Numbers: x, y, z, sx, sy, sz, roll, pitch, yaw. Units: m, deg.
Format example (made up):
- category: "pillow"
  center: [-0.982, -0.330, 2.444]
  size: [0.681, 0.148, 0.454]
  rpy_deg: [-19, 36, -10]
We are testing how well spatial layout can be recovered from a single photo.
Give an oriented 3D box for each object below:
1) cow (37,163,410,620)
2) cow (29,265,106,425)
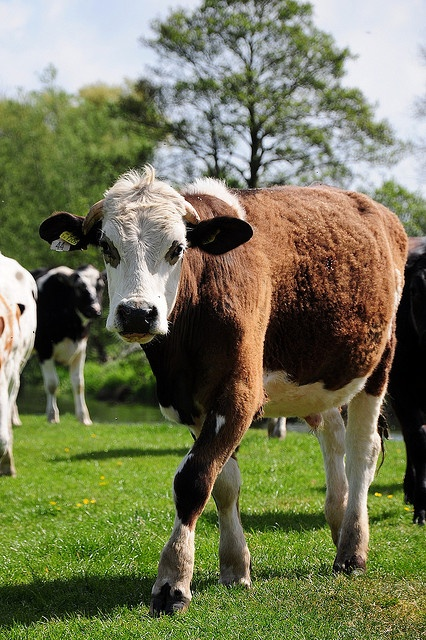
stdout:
- category: "cow"
  center: [0.301, 0.438, 7.667]
  size: [3.034, 3.199, 0.973]
  rpy_deg: [-2, 3, -44]
- category: "cow"
  center: [-2.885, 0.581, 18.787]
  size: [1.158, 2.864, 4.319]
  rpy_deg: [6, -8, -19]
